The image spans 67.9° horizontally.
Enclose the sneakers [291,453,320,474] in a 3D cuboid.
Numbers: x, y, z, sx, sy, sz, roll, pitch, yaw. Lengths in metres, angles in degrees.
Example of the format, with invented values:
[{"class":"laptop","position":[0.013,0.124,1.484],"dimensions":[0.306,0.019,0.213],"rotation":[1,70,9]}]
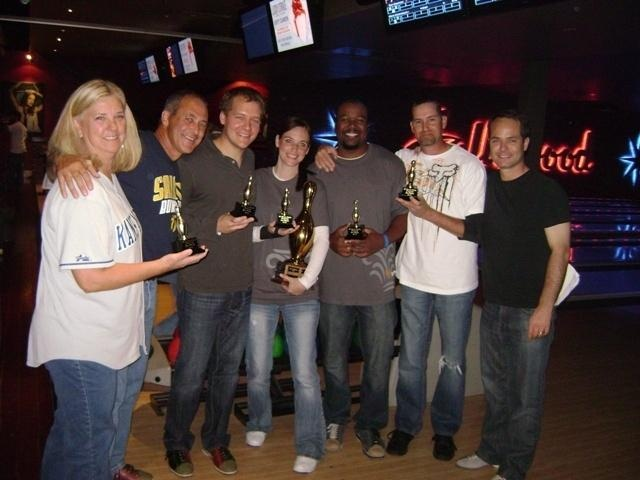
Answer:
[{"class":"sneakers","position":[-0.084,1.297,2.756],"dimensions":[0.150,0.096,0.086],"rotation":[-3,11,-12]}]

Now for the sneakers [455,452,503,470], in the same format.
[{"class":"sneakers","position":[0.965,1.349,2.910],"dimensions":[0.270,0.103,0.090],"rotation":[4,-6,6]}]

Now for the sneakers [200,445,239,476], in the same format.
[{"class":"sneakers","position":[-0.566,1.275,2.737],"dimensions":[0.085,0.078,0.216],"rotation":[4,0,-39]}]

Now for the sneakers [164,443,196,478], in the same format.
[{"class":"sneakers","position":[-0.793,1.269,2.689],"dimensions":[0.084,0.086,0.222],"rotation":[4,-9,-26]}]
